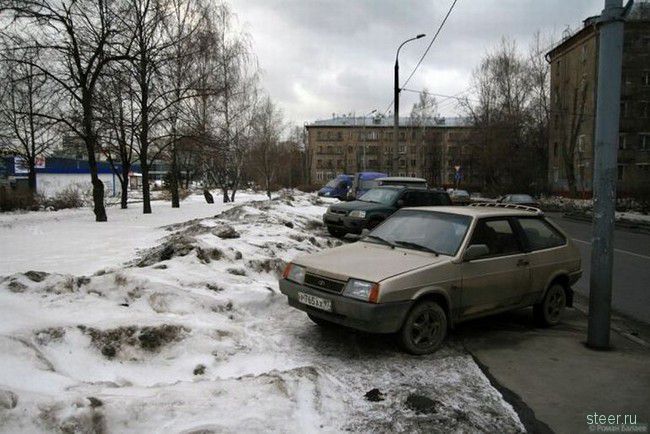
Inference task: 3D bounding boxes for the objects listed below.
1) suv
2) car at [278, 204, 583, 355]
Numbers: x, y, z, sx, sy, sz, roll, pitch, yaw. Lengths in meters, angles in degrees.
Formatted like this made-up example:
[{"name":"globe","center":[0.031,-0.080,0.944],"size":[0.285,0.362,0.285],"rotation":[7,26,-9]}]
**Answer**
[{"name":"suv","center":[1.901,-0.311,15.018],"size":[3.239,1.695,1.906],"rotation":[0,1,-23]},{"name":"car","center":[1.742,0.918,7.719],"size":[4.647,1.983,1.450],"rotation":[-5,8,-23]}]
